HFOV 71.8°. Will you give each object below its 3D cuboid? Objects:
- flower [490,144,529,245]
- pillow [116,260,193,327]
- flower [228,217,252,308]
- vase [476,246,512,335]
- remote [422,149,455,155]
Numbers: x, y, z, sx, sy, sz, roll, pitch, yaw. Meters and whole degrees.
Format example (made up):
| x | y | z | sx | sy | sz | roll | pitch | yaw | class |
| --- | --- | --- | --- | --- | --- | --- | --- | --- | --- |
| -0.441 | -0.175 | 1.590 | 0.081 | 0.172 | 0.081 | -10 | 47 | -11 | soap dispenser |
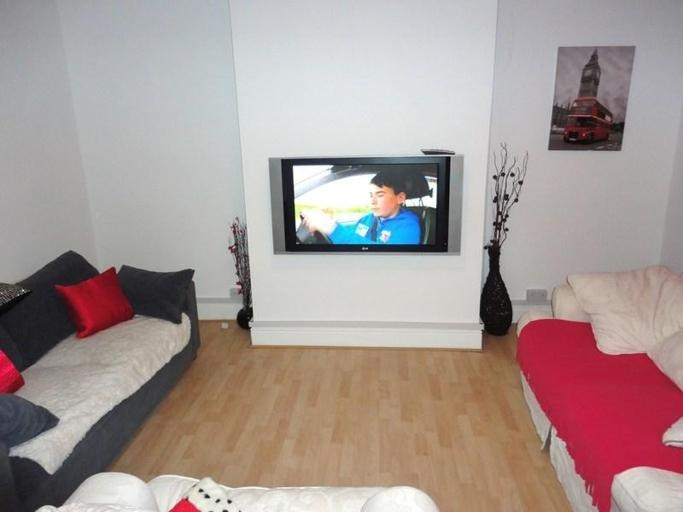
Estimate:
| x | y | z | sx | sy | sz | roll | pitch | yaw | class |
| --- | --- | --- | --- | --- | --- | --- | --- | --- | --- |
| 1.567 | -0.541 | 4.388 | 0.323 | 0.954 | 0.285 | 3 | 17 | 12 | flower |
| -1.568 | 0.343 | 3.953 | 0.485 | 0.371 | 0.177 | 2 | 12 | 8 | pillow |
| -1.005 | 0.089 | 4.638 | 0.185 | 0.856 | 0.421 | -5 | 18 | -14 | flower |
| 1.460 | 0.317 | 4.409 | 0.287 | 0.886 | 0.214 | 4 | 18 | 17 | vase |
| 0.818 | -0.870 | 3.979 | 0.278 | 0.045 | 0.122 | 3 | 18 | 11 | remote |
